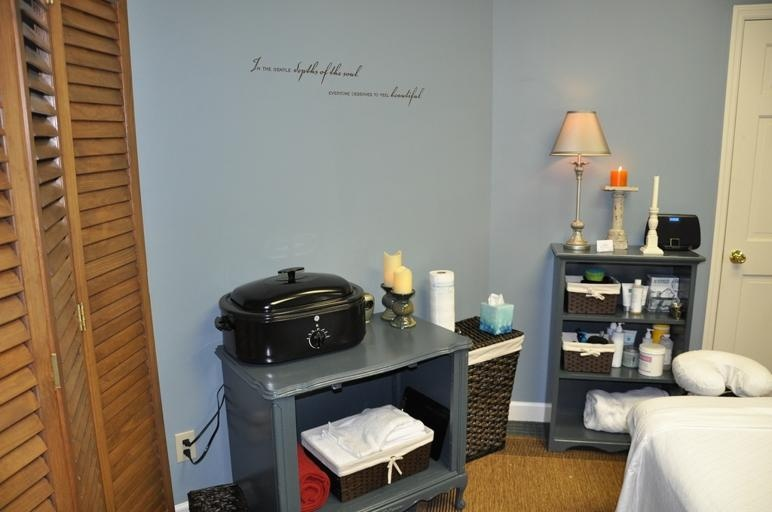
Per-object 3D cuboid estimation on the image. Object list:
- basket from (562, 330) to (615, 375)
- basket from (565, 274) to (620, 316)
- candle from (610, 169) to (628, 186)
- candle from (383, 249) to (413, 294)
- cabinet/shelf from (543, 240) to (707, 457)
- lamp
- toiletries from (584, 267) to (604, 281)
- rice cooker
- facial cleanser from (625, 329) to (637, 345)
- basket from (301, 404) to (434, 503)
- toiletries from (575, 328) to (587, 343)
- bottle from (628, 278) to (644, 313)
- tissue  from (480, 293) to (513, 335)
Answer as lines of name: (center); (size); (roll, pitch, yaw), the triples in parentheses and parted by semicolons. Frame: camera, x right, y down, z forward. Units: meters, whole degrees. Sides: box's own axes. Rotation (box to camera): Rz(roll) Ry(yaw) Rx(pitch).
basket: (1.219, 0.587, 3.501); (0.303, 0.224, 0.188); (4, 9, 21)
basket: (1.255, 0.239, 3.495); (0.338, 0.200, 0.236); (2, 8, 10)
candle: (1.371, -0.470, 3.471); (0.100, 0.116, 0.100); (-4, 10, -10)
candle: (0.060, 0.089, 3.066); (0.137, 0.205, 0.227); (-1, 8, -8)
cabinet/shelf: (1.476, 0.252, 3.749); (1.041, 1.641, 0.646); (2, 12, 18)
lamp: (1.159, -0.444, 3.487); (0.324, 0.814, 0.326); (3, 9, 16)
toiletries: (1.255, 0.112, 3.493); (0.082, 0.038, 0.082); (-2, 8, -7)
rice cooker: (-0.442, 0.274, 2.721); (0.685, 0.417, 0.289); (-2, 9, -18)
facial cleanser: (1.522, 0.511, 3.607); (0.084, 0.089, 0.022); (5, 7, 15)
basket: (-0.104, 0.952, 2.940); (0.557, 0.286, 0.437); (-9, 14, -35)
toiletries: (1.208, 0.499, 3.552); (0.079, 0.081, 0.051); (-1, -10, -8)
bottle: (1.502, 0.246, 3.466); (0.071, 0.206, 0.052); (5, 10, 23)
tissue : (0.655, 0.337, 3.412); (0.190, 0.217, 0.195); (5, 10, 22)
